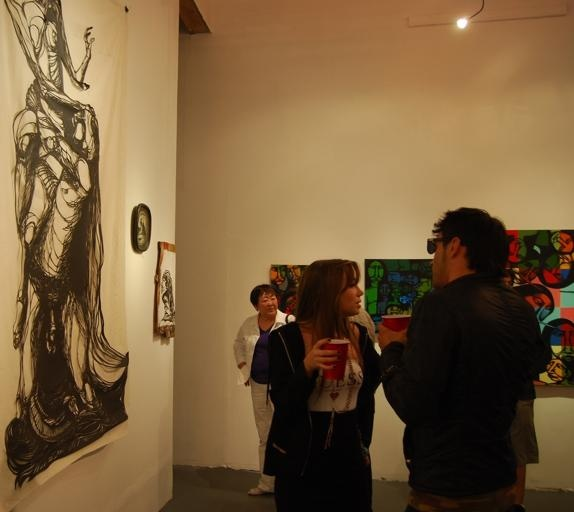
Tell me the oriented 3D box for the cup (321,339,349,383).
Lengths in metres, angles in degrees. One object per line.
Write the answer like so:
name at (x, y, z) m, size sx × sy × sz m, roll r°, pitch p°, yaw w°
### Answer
cup at (0.213, 0.465, 2.273) m, size 0.099 × 0.191 × 0.115 m, roll 1°, pitch -3°, yaw -23°

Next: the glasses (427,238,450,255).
glasses at (0.667, -0.044, 2.273) m, size 0.089 × 0.044 × 0.107 m, roll 0°, pitch -4°, yaw 18°
